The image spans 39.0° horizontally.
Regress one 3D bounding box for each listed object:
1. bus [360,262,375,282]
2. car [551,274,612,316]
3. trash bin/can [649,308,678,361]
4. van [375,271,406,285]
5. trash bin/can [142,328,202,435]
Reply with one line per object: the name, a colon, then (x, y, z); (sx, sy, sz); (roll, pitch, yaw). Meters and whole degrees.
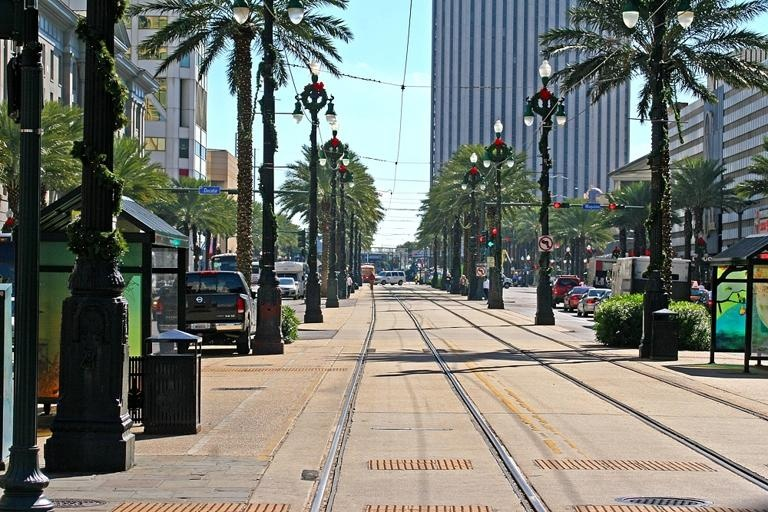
bus: (-1.944, 2.238, 141.239); (1.570, 1.611, 2.647); (1, 2, 5)
car: (10.754, 2.139, 59.220); (2.348, 2.156, 5.091); (0, -2, -4)
trash bin/can: (7.291, 2.068, 28.287); (0.660, 1.312, 0.671); (-1, -2, 12)
van: (1.305, 2.913, 145.454); (3.139, 1.333, 1.908); (3, -4, -23)
trash bin/can: (-3.381, 2.010, 17.489); (0.908, 1.711, 1.288); (1, -1, -4)
